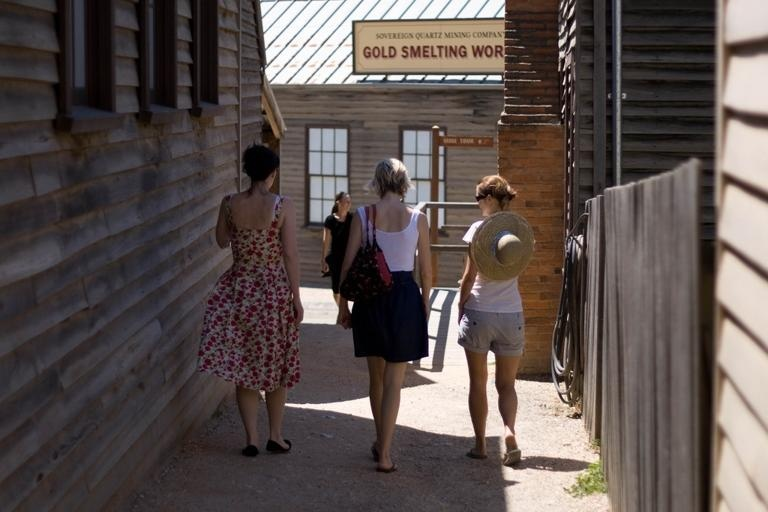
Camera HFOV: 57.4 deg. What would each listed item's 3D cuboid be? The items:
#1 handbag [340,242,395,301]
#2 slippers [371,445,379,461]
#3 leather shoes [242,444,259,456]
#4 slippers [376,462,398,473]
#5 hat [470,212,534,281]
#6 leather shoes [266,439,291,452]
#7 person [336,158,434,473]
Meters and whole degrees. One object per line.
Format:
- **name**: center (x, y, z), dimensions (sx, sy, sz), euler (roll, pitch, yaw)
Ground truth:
- **handbag**: center (-0.138, 0.085, 5.128), dimensions (0.388, 0.435, 0.171), euler (-8, 4, 21)
- **slippers**: center (-0.068, 1.511, 5.370), dimensions (0.065, 0.086, 0.210), euler (0, -24, -2)
- **leather shoes**: center (-0.991, 1.456, 5.234), dimensions (0.040, 0.063, 0.148), euler (-13, 12, -34)
- **slippers**: center (0.023, 1.556, 5.157), dimensions (0.118, 0.049, 0.063), euler (-12, -7, 31)
- **hat**: center (0.886, -0.076, 5.326), dimensions (0.475, 0.539, 0.146), euler (-6, 10, -17)
- **leather shoes**: center (-0.799, 1.453, 5.385), dimensions (0.094, 0.079, 0.186), euler (4, 7, 33)
- **person**: center (0.005, 0.430, 5.216), dimensions (0.670, 1.743, 0.357), euler (2, 1, 1)
